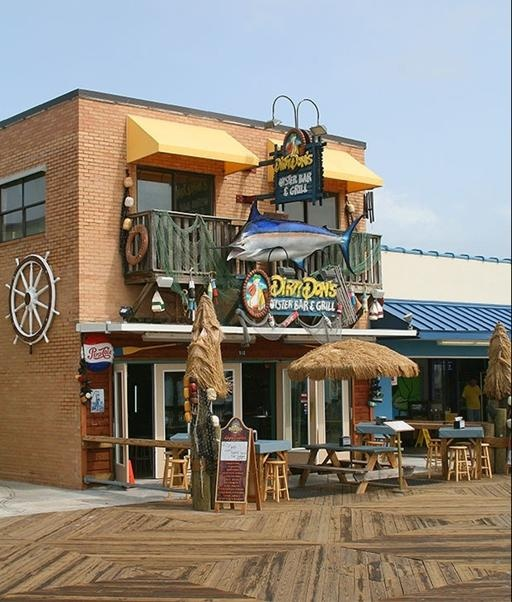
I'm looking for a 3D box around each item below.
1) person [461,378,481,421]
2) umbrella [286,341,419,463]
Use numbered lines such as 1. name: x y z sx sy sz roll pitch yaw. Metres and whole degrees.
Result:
1. person: 5.852 2.684 26.287 0.488 1.105 1.237 -4 -8 13
2. umbrella: 1.608 0.970 16.154 2.099 0.647 0.945 -2 -8 1
